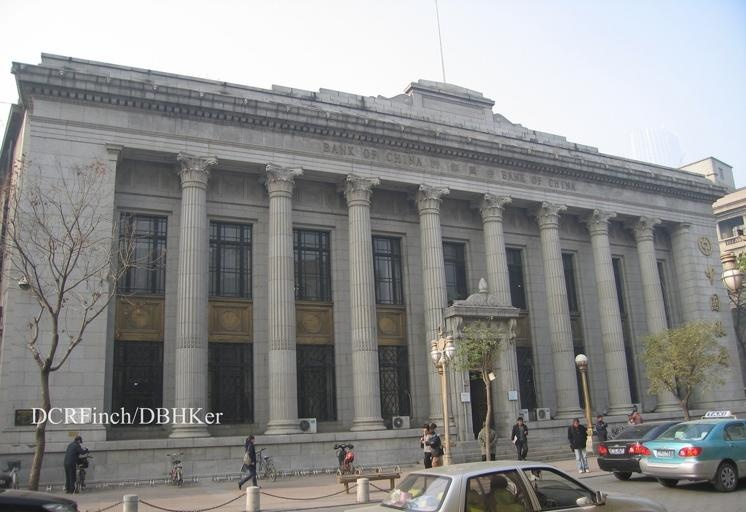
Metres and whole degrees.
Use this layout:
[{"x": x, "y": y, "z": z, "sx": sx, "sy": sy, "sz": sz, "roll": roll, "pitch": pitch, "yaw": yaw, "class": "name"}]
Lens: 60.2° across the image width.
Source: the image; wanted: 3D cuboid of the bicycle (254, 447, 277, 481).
[{"x": -5.134, "y": 10.074, "z": 30.714, "sx": 0.887, "sy": 1.001, "sz": 1.731, "roll": -5, "pitch": -27, "yaw": -14, "class": "bicycle"}]

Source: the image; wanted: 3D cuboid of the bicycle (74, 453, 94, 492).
[{"x": -12.734, "y": 9.509, "z": 27.834, "sx": 0.851, "sy": 1.643, "sz": 1.019, "roll": 3, "pitch": 24, "yaw": -13, "class": "bicycle"}]

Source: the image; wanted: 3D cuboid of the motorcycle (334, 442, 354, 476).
[{"x": -1.329, "y": 9.512, "z": 29.901, "sx": 0.848, "sy": 1.078, "sz": 1.795, "roll": 3, "pitch": -24, "yaw": -4, "class": "motorcycle"}]

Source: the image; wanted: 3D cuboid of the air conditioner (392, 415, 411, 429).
[{"x": 1.535, "y": 9.236, "z": 35.564, "sx": 1.110, "sy": 0.739, "sz": 0.577, "roll": 1, "pitch": -20, "yaw": -3, "class": "air conditioner"}]

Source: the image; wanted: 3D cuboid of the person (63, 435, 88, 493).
[{"x": -12.676, "y": 8.846, "z": 27.325, "sx": 0.852, "sy": 2.329, "sz": 1.218, "roll": 2, "pitch": -18, "yaw": -21, "class": "person"}]

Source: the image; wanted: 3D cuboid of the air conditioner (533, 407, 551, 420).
[{"x": 10.447, "y": 9.674, "z": 39.301, "sx": 1.116, "sy": 0.746, "sz": 0.614, "roll": 4, "pitch": -14, "yaw": -17, "class": "air conditioner"}]

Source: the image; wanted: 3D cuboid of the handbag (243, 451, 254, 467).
[{"x": -5.207, "y": 8.388, "z": 26.636, "sx": 0.451, "sy": 0.528, "sz": 0.224, "roll": -14, "pitch": -19, "yaw": 27, "class": "handbag"}]

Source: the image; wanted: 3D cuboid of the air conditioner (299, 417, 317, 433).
[{"x": -3.384, "y": 8.931, "z": 33.975, "sx": 0.850, "sy": 0.745, "sz": 0.216, "roll": -5, "pitch": -12, "yaw": 15, "class": "air conditioner"}]
